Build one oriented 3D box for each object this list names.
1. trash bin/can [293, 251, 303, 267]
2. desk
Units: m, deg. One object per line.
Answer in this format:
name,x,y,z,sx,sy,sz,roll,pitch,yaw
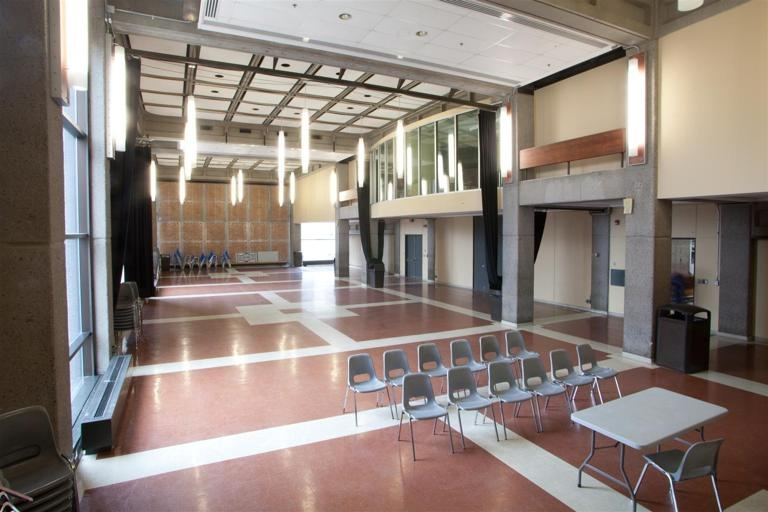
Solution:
trash bin/can,-5.646,0.145,34.118,0.574,0.953,0.868,-3,14,-9
desk,3.767,2.342,7.588,2.582,1.176,1.350,-6,7,-35
